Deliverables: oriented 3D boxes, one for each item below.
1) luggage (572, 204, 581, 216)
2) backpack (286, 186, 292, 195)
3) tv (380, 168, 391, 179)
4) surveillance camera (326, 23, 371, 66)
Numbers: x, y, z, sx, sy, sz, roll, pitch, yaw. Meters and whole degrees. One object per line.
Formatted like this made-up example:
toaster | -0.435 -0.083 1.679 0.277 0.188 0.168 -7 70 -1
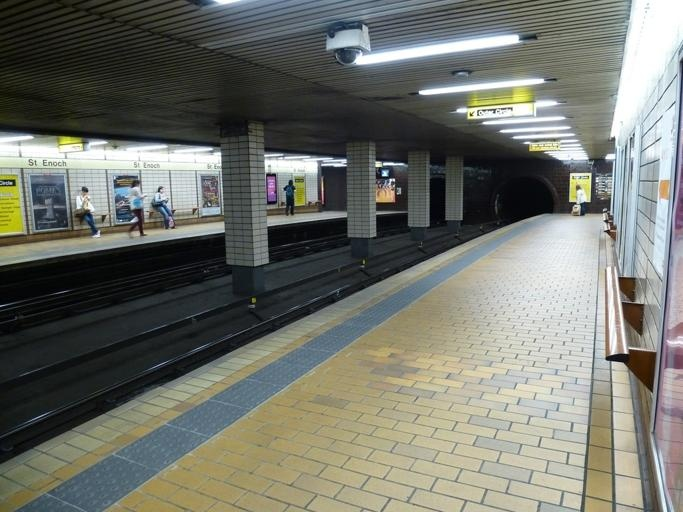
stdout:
luggage | 12.548 -2.414 22.123 0.413 0.556 0.693 3 10 28
backpack | -2.493 -3.312 21.299 0.325 0.474 0.374 -4 9 -10
tv | 3.066 -5.486 27.526 0.383 0.625 1.336 2 9 27
surveillance camera | 0.080 -1.840 3.627 0.385 0.271 0.277 -2 9 1
